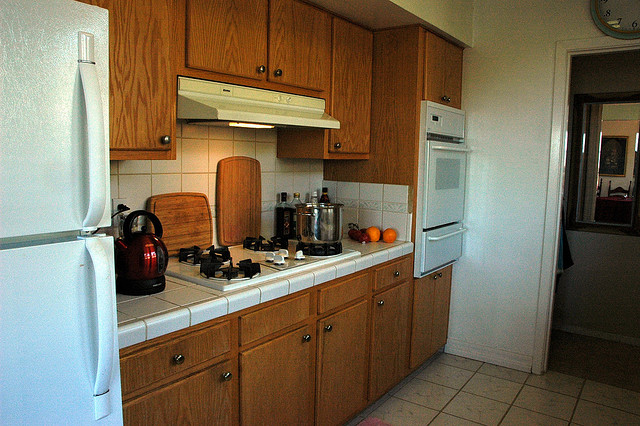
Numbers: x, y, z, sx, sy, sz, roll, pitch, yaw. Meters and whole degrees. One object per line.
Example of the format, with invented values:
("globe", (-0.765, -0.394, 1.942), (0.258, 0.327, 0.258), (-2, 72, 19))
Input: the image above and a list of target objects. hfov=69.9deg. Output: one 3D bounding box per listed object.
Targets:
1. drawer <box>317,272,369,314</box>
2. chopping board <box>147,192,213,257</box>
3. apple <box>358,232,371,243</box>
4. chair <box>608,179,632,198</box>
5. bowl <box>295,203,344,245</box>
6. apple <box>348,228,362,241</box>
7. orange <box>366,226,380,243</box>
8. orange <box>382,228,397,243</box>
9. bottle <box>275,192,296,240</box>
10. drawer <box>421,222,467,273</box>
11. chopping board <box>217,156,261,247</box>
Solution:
("drawer", (0.124, 0.460, 2.619), (0.183, 0.092, 0.268), (-12, -1, 42))
("chopping board", (-0.773, 0.065, 2.491), (0.046, 0.334, 0.356), (1, 3, 35))
("apple", (0.303, 0.172, 3.145), (0.090, 0.063, 0.037), (-4, 13, -25))
("chair", (2.717, -0.228, 4.193), (0.138, 0.248, 0.146), (0, 0, 37))
("bowl", (-0.003, 0.062, 2.842), (0.300, 0.247, 0.295), (0, 6, 0))
("apple", (0.238, 0.153, 3.178), (0.042, 0.073, 0.076), (-1, 12, -26))
("orange", (0.368, 0.149, 3.161), (0.093, 0.094, 0.093), (-4, 3, 17))
("orange", (0.474, 0.160, 3.206), (0.084, 0.101, 0.088), (7, 17, 44))
("bottle", (-0.233, 0.022, 3.109), (0.148, 0.313, 0.136), (1, 12, 0))
("drawer", (0.875, 0.253, 3.345), (0.315, 0.233, 0.477), (0, 7, 39))
("chopping board", (-0.501, -0.078, 2.859), (0.108, 0.537, 0.345), (13, 16, 42))
